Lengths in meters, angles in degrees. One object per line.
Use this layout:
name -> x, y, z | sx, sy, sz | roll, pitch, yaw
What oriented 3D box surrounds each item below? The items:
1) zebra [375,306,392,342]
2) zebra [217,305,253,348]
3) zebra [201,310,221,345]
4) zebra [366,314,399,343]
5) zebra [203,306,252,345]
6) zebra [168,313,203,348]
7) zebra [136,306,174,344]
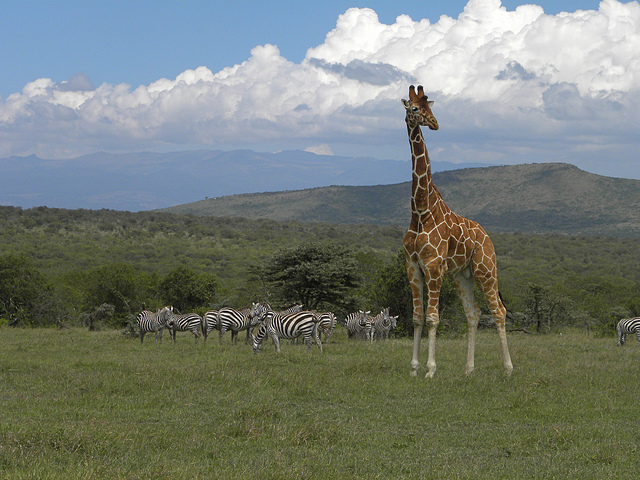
zebra -> 4.094, 5.381, 58.489 | 1.112, 2.026, 2.428 | -2, -5, 3
zebra -> -4.867, 4.907, 53.266 | 1.052, 2.597, 3.588 | -7, -10, 34
zebra -> -6.512, 5.099, 54.071 | 0.935, 2.247, 3.253 | -1, -6, 11
zebra -> 3.930, 5.564, 57.828 | 1.842, 1.532, 2.557 | -3, -5, 9
zebra -> -5.704, 4.784, 53.621 | 2.177, 2.704, 2.189 | -4, 0, 16
zebra -> -8.366, 5.013, 53.440 | 2.856, 2.385, 0.845 | -1, -8, 8
zebra -> -9.832, 4.994, 53.781 | 2.968, 2.151, 0.929 | -4, 0, 33
